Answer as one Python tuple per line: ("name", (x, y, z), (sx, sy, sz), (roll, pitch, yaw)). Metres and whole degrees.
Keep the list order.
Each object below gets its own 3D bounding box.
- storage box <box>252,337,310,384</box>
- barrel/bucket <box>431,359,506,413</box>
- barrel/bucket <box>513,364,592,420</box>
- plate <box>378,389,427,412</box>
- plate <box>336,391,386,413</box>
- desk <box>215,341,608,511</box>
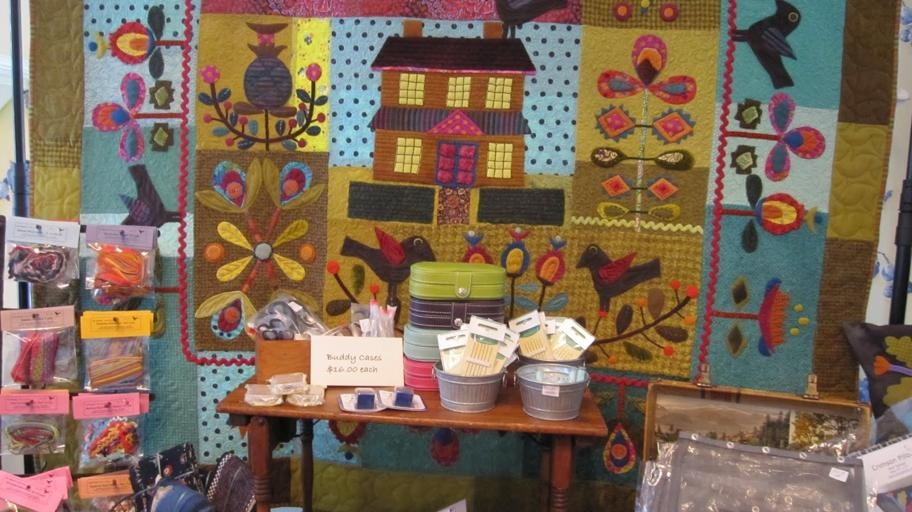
("storage box", (-1.081, 0.621, 5.783), (0.446, 0.281, 0.242), (1, 5, -4))
("barrel/bucket", (0.079, 0.785, 5.637), (0.403, 0.224, 0.214), (0, 27, -1))
("barrel/bucket", (0.580, 0.791, 5.590), (0.442, 0.307, 0.410), (2, 2, 0))
("plate", (-0.328, 0.862, 5.637), (0.184, 0.061, 0.173), (5, 11, -9))
("plate", (-0.564, 0.834, 5.636), (0.296, 0.107, 0.196), (2, 27, 4))
("desk", (-0.264, 0.395, 6.041), (2.216, 1.476, 1.120), (1, 5, 3))
